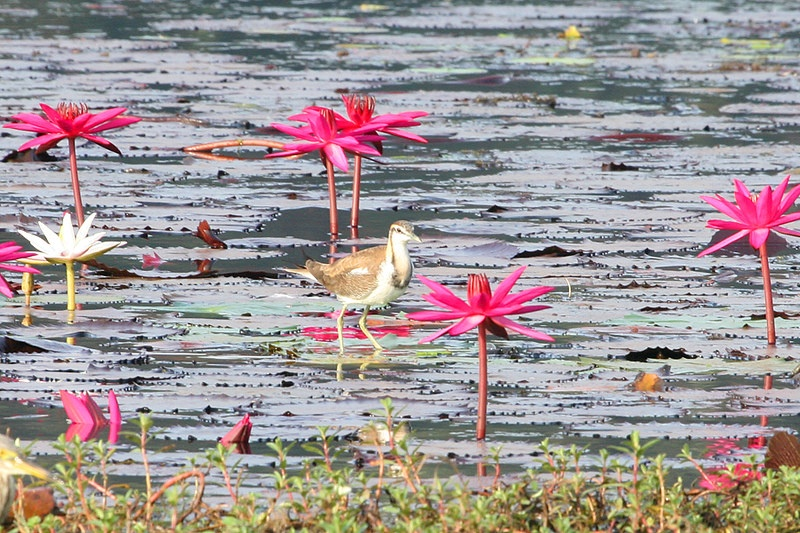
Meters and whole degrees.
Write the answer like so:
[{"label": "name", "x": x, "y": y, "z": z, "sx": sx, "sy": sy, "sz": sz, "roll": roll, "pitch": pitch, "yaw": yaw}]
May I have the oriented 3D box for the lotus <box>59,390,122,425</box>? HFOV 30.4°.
[{"label": "lotus", "x": -1.663, "y": 0.746, "z": 8.007, "sx": 0.313, "sy": 0.237, "sz": 0.469, "roll": 0, "pitch": 8, "yaw": -9}]
